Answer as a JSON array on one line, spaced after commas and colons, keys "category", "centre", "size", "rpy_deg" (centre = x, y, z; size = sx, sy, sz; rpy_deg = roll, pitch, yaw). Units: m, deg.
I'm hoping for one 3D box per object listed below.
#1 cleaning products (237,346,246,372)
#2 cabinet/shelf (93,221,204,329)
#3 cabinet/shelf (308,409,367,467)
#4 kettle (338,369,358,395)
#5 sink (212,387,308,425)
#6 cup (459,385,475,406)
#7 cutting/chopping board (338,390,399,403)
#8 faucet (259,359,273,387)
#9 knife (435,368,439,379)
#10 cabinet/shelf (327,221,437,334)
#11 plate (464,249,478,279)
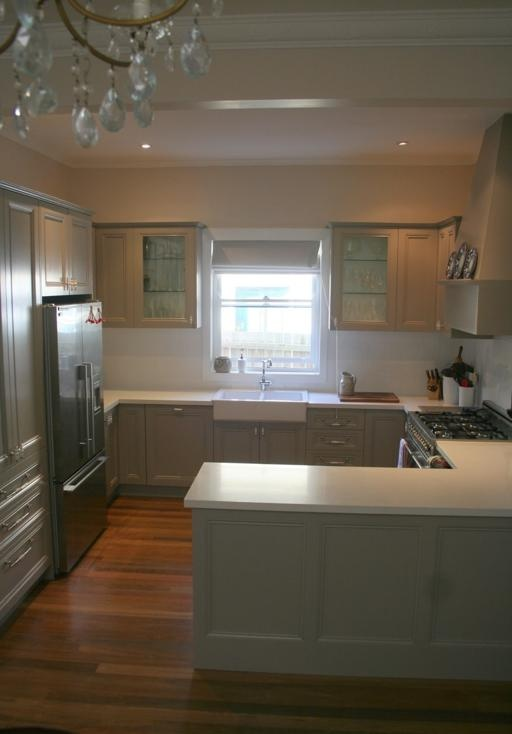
[{"category": "cleaning products", "centre": [-0.121, -0.061, 5.022], "size": [0.069, 0.199, 0.183], "rpy_deg": [0, 6, -1]}, {"category": "cabinet/shelf", "centre": [-0.872, -0.760, 4.572], "size": [0.805, 0.845, 0.331], "rpy_deg": [0, 4, -2]}, {"category": "cabinet/shelf", "centre": [0.592, 0.516, 4.527], "size": [0.407, 0.677, 0.426], "rpy_deg": [0, 2, 2]}, {"category": "kettle", "centre": [0.749, 0.139, 4.682], "size": [0.178, 0.214, 0.116], "rpy_deg": [1, 3, -1]}, {"category": "sink", "centre": [0.038, 0.316, 4.559], "size": [0.746, 0.194, 0.469], "rpy_deg": [0, 6, 5]}, {"category": "cup", "centre": [1.593, 0.213, 4.334], "size": [0.123, 0.230, 0.133], "rpy_deg": [1, 2, 0]}, {"category": "cutting/chopping board", "centre": [0.895, 0.240, 4.576], "size": [0.451, 0.026, 0.503], "rpy_deg": [0, 6, 4]}, {"category": "faucet", "centre": [0.086, 0.060, 4.947], "size": [0.106, 0.238, 0.265], "rpy_deg": [0, 6, 1]}, {"category": "knife", "centre": [1.497, 0.048, 4.737], "size": [0.035, 0.069, 0.077], "rpy_deg": [1, 6, 17]}, {"category": "cabinet/shelf", "centre": [1.005, -0.722, 4.469], "size": [0.749, 0.795, 0.255], "rpy_deg": [1, 3, 5]}, {"category": "plate", "centre": [1.203, -0.577, 3.142], "size": [0.034, 0.160, 0.095], "rpy_deg": [10, -2, -13]}]
